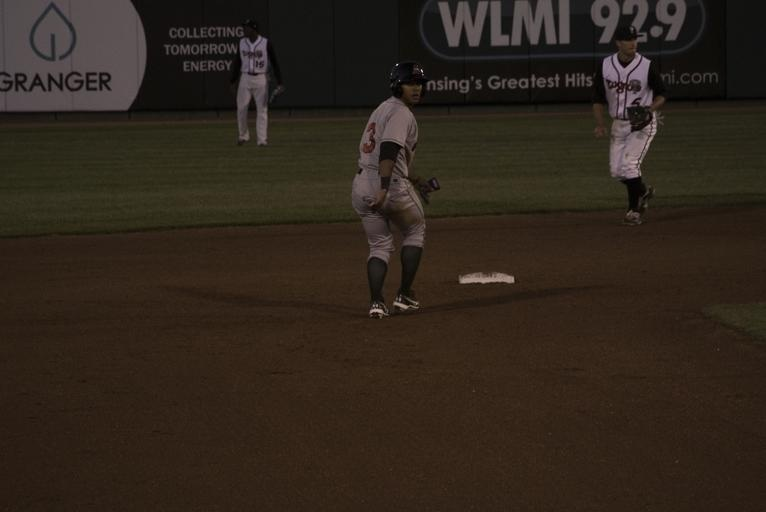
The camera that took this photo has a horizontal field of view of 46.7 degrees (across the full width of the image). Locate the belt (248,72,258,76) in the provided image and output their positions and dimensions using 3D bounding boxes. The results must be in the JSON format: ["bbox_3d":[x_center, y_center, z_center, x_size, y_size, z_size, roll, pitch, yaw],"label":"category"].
[{"bbox_3d":[-2.280,-3.199,15.610,0.157,0.054,0.017,0,15,3],"label":"belt"}]

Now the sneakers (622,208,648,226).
[{"bbox_3d":[3.185,-0.481,11.229,0.160,0.169,0.368,2,2,29],"label":"sneakers"}]

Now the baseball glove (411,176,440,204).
[{"bbox_3d":[0.396,-0.690,8.566,0.102,0.277,0.341,-35,31,-6],"label":"baseball glove"}]

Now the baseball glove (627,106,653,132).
[{"bbox_3d":[3.060,-1.662,10.642,0.305,0.138,0.230,-5,58,-16],"label":"baseball glove"}]

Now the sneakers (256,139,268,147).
[{"bbox_3d":[-2.223,-2.072,16.244,0.182,0.182,0.298,-1,3,-7],"label":"sneakers"}]

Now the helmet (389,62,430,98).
[{"bbox_3d":[0.227,-1.607,8.037,0.363,0.307,0.351,9,16,42],"label":"helmet"}]

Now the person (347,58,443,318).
[{"bbox_3d":[0.097,-0.547,8.021,0.687,2.310,0.488,-6,15,-16],"label":"person"}]

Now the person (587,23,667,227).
[{"bbox_3d":[2.995,-1.574,10.893,0.843,2.422,0.621,4,16,20],"label":"person"}]

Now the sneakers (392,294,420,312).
[{"bbox_3d":[0.221,0.436,8.368,0.128,0.130,0.274,10,9,43],"label":"sneakers"}]

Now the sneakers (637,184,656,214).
[{"bbox_3d":[3.371,-0.721,11.400,0.134,0.401,0.188,18,12,27],"label":"sneakers"}]
